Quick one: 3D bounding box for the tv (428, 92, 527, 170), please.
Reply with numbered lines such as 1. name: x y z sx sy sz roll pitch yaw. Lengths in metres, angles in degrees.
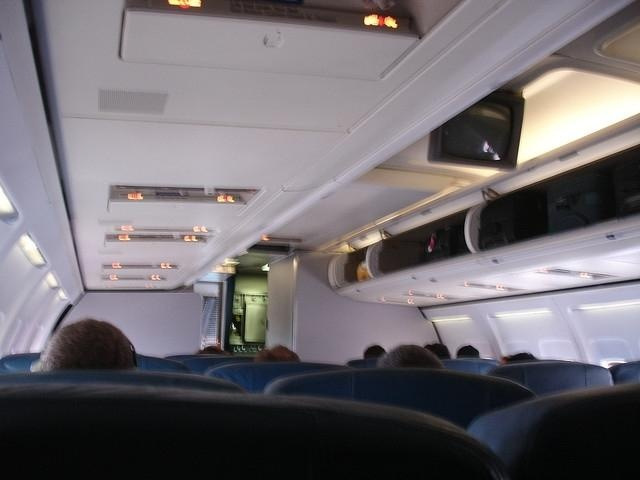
1. tv: 1.132 -0.795 2.971 0.653 0.417 0.334 3 9 -16
